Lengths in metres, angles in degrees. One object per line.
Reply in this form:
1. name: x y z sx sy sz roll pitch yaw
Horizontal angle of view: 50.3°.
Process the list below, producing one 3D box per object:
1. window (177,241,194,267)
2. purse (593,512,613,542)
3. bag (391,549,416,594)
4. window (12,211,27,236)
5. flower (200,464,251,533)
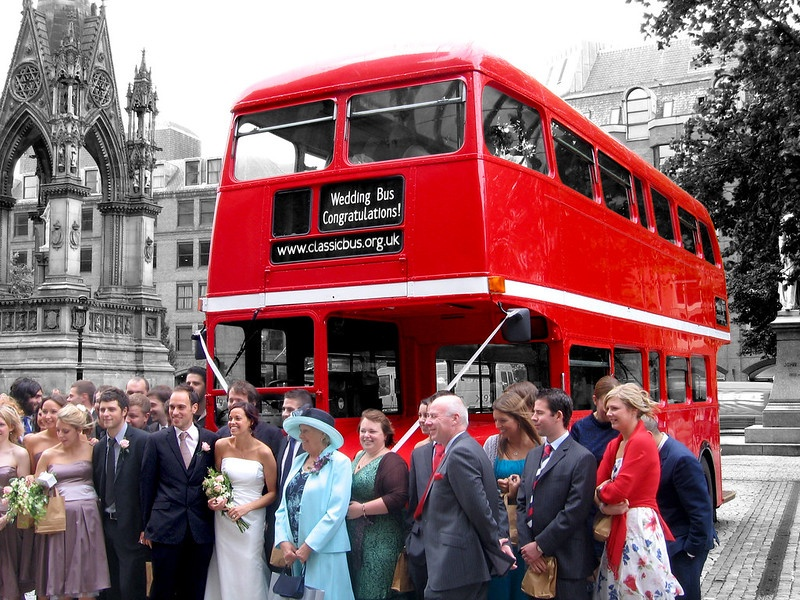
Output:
1. window: -17.052 -3.726 68.032 1.762 2.719 0.159 0 -3 8
2. purse: 1.774 1.955 7.391 0.095 0.261 0.254 17 4 7
3. bag: 0.040 2.416 7.602 0.175 0.450 0.439 -4 -11 21
4. window: -32.546 -6.650 72.949 2.028 2.751 0.172 0 -2 16
5. flower: -1.775 1.865 8.406 0.341 0.568 0.229 5 -1 -6
